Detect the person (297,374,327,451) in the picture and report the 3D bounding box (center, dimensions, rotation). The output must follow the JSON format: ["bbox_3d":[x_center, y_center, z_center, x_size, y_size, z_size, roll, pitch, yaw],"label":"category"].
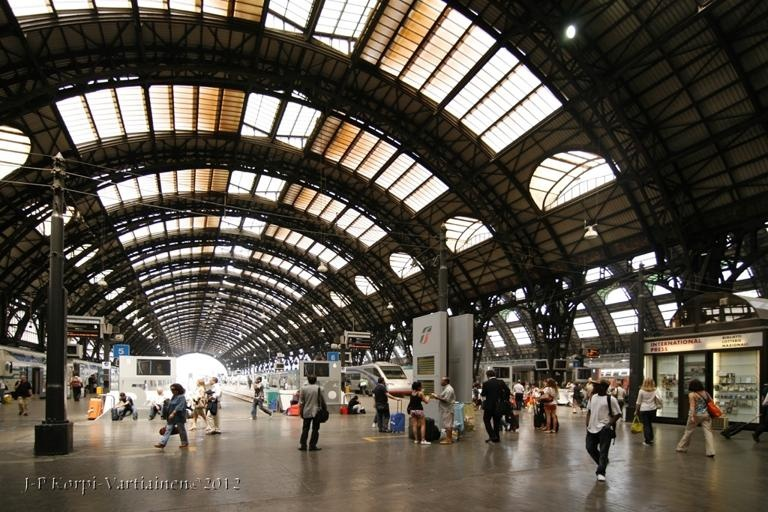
[{"bbox_3d":[-2.465,5.484,18.862,0.916,2.530,1.381,0,-17,-8],"label":"person"}]

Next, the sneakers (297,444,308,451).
[{"bbox_3d":[-2.905,6.782,19.086,0.411,0.264,0.147,0,-10,22],"label":"sneakers"}]

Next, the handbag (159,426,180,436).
[{"bbox_3d":[-7.656,6.186,19.158,0.688,0.377,0.910,9,-13,-25],"label":"handbag"}]

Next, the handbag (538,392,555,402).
[{"bbox_3d":[7.288,6.265,24.042,0.760,0.400,0.744,2,2,-2],"label":"handbag"}]

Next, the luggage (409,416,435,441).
[{"bbox_3d":[1.555,6.718,20.958,1.092,0.911,0.568,-9,-16,30],"label":"luggage"}]

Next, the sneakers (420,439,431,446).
[{"bbox_3d":[1.627,7.079,20.411,0.426,0.160,0.149,1,-8,-10],"label":"sneakers"}]

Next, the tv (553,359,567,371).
[{"bbox_3d":[12.495,7.664,38.286,1.396,0.878,0.726,2,-6,-16],"label":"tv"}]

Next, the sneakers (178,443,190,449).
[{"bbox_3d":[-7.180,6.860,19.409,0.231,0.178,0.439,6,-2,-39],"label":"sneakers"}]

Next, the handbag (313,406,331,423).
[{"bbox_3d":[-2.155,5.457,18.745,0.444,0.482,0.427,1,-17,-13],"label":"handbag"}]

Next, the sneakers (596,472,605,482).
[{"bbox_3d":[6.197,6.264,15.209,0.123,0.109,0.283,-3,-32,1],"label":"sneakers"}]

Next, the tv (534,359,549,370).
[{"bbox_3d":[11.490,7.812,38.662,0.743,0.801,1.310,-5,-17,7],"label":"tv"}]

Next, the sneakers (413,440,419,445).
[{"bbox_3d":[1.289,7.148,20.704,0.105,0.108,0.261,3,-27,-10],"label":"sneakers"}]

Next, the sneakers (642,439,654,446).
[{"bbox_3d":[9.979,7.029,20.298,0.234,0.190,0.536,13,-20,-28],"label":"sneakers"}]

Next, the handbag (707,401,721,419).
[{"bbox_3d":[10.949,5.010,17.679,0.311,0.486,0.578,-3,-16,1],"label":"handbag"}]

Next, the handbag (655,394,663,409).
[{"bbox_3d":[10.209,5.369,19.877,0.171,0.452,0.606,-10,-18,23],"label":"handbag"}]

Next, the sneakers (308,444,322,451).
[{"bbox_3d":[-2.429,6.816,19.177,0.435,0.277,0.143,2,-1,-17],"label":"sneakers"}]
